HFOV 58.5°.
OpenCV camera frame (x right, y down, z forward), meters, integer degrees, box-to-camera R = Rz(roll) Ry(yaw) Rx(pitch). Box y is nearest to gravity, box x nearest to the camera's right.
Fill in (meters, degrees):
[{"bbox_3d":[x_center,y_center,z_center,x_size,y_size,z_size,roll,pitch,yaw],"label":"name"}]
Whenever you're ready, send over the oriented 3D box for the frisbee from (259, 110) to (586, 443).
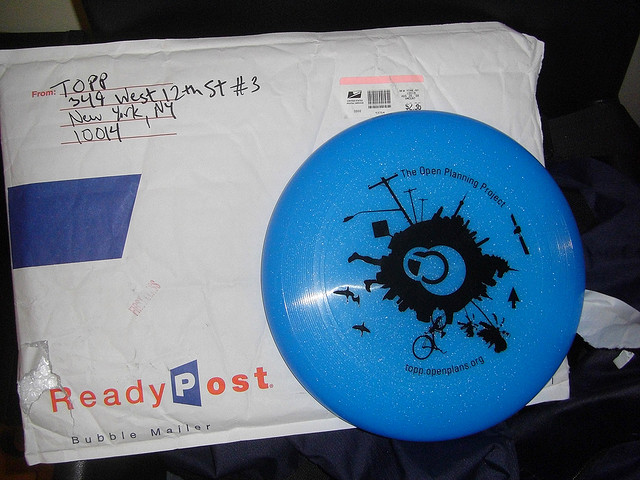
[{"bbox_3d":[0.204,0.068,1.100,0.607,0.082,0.620,24,86,4],"label":"frisbee"}]
